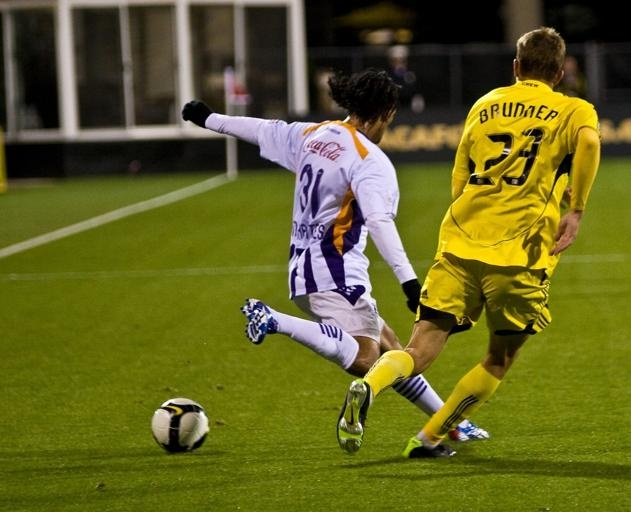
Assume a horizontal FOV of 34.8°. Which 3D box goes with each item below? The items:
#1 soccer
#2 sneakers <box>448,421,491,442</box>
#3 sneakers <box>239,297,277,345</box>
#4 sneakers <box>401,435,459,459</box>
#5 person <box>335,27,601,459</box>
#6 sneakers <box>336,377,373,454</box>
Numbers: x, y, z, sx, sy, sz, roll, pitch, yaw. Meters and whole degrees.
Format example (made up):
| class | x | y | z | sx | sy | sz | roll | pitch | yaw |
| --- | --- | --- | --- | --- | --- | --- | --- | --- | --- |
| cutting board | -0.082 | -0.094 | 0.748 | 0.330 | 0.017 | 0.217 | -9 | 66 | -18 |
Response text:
| class | x | y | z | sx | sy | sz | roll | pitch | yaw |
| --- | --- | --- | --- | --- | --- | --- | --- | --- | --- |
| soccer | -0.699 | 0.877 | 5.171 | 0.322 | 0.254 | 0.302 | 10 | -10 | -36 |
| sneakers | 0.804 | 0.926 | 5.365 | 0.297 | 0.102 | 0.087 | -4 | 6 | -4 |
| sneakers | -0.228 | 0.303 | 4.730 | 0.130 | 0.132 | 0.236 | -10 | 36 | -32 |
| sneakers | 0.562 | 0.959 | 5.109 | 0.319 | 0.103 | 0.095 | -3 | 11 | -10 |
| person | 0.890 | -0.037 | 4.927 | 0.902 | 2.102 | 0.473 | 0 | 13 | 3 |
| sneakers | 0.188 | 0.723 | 4.607 | 0.147 | 0.327 | 0.170 | 12 | -4 | 14 |
